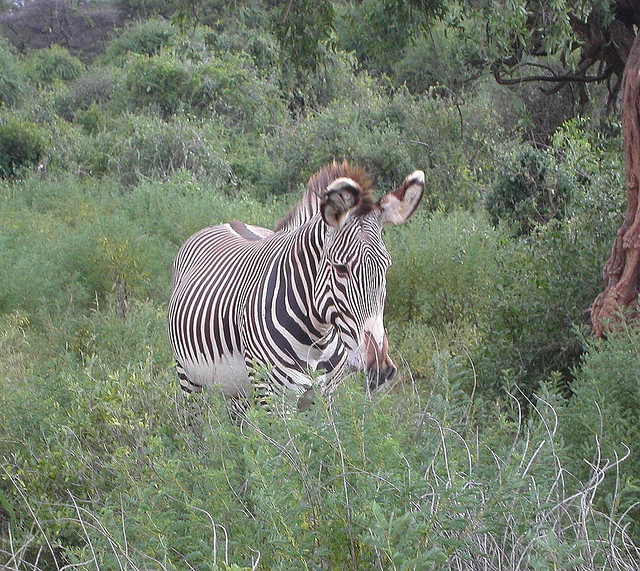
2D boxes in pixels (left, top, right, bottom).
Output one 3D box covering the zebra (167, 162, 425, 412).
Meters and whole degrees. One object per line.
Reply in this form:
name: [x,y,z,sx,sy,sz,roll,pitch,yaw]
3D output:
zebra: [-0.188,0.043,5.799,0.785,1.678,2.049,-5,13,-37]
